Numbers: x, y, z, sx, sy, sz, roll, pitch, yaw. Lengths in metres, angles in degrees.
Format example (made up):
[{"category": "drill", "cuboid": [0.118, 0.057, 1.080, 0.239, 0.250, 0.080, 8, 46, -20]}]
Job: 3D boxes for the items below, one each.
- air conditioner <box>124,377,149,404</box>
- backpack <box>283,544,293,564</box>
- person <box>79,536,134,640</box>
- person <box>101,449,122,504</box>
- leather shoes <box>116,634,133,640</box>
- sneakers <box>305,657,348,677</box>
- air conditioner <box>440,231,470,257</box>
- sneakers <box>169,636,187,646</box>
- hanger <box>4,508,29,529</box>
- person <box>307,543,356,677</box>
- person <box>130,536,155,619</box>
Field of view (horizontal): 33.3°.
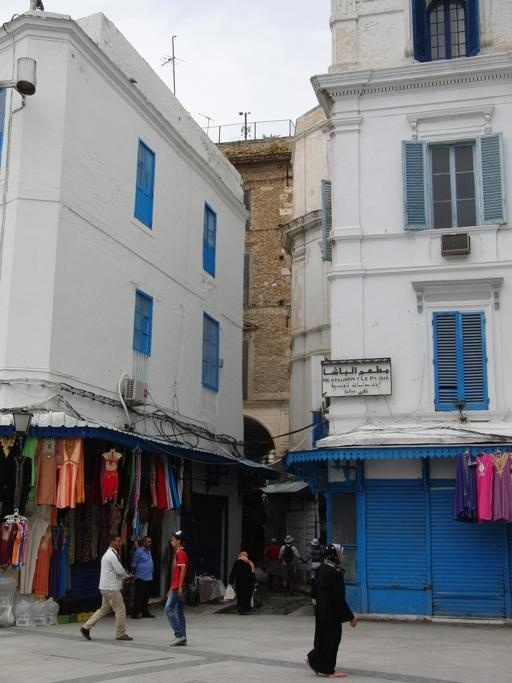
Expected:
[{"category": "air conditioner", "cuboid": [-2.184, 0.897, 15.306, 0.231, 0.486, 0.573, -4, -11, 19]}, {"category": "backpack", "cuboid": [0.745, 5.281, 20.890, 0.266, 0.425, 0.190, -8, -12, 35]}, {"category": "person", "cuboid": [-1.967, 3.349, 11.486, 0.622, 1.334, 2.078, 1, -11, -8]}, {"category": "person", "cuboid": [-2.350, 2.219, 13.839, 0.308, 0.832, 1.038, 1, -11, -10]}, {"category": "leather shoes", "cuboid": [-1.644, 3.743, 10.643, 0.202, 0.101, 0.075, 1, -5, 0]}, {"category": "sneakers", "cuboid": [0.623, 3.152, 8.172, 0.453, 0.232, 0.152, -7, -14, 20]}, {"category": "air conditioner", "cuboid": [3.492, -1.726, 15.041, 0.544, 0.578, 0.351, 0, -10, 15]}, {"category": "sneakers", "cuboid": [-0.940, 3.677, 10.313, 0.203, 0.105, 0.310, 0, -11, -6]}, {"category": "hanger", "cuboid": [-3.512, 2.722, 12.569, 0.386, 0.437, 0.221, 3, -14, -10]}, {"category": "person", "cuboid": [0.720, 2.692, 8.492, 0.478, 1.221, 0.982, -1, -10, 3]}, {"category": "person", "cuboid": [-1.907, 4.005, 14.314, 0.351, 1.305, 1.079, 1, -10, -8]}]
